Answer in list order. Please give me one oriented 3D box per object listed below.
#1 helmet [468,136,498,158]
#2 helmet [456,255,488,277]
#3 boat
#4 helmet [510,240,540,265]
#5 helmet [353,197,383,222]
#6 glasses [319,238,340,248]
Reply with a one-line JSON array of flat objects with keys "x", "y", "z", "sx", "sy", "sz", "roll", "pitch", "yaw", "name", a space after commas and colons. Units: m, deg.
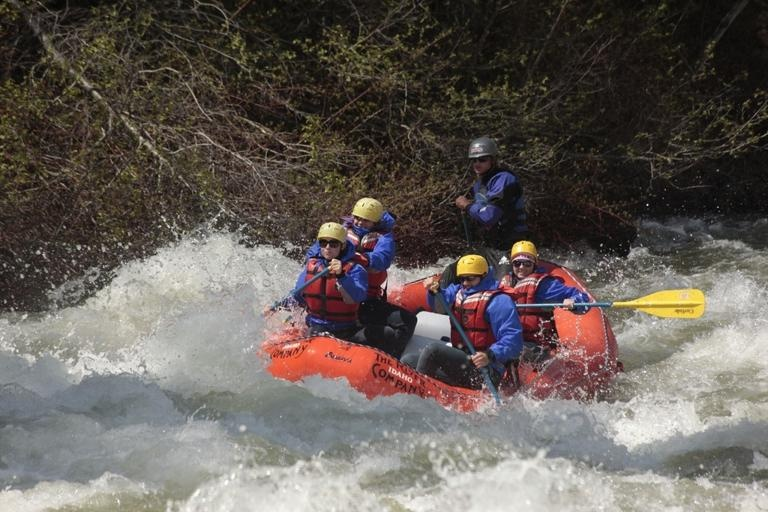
[{"x": 1.369, "y": -1.465, "z": 13.511, "sx": 0.375, "sy": 0.267, "sz": 0.292, "roll": 3, "pitch": 35, "yaw": 7, "name": "helmet"}, {"x": 1.089, "y": 0.124, "z": 12.359, "sx": 0.343, "sy": 0.251, "sz": 0.252, "roll": 26, "pitch": -25, "yaw": -34, "name": "helmet"}, {"x": 1.045, "y": 1.488, "z": 12.482, "sx": 3.264, "sy": 0.913, "sz": 2.166, "roll": -15, "pitch": 35, "yaw": -36, "name": "boat"}, {"x": 1.842, "y": -0.040, "z": 12.969, "sx": 0.248, "sy": 0.333, "sz": 0.256, "roll": -1, "pitch": 46, "yaw": 12, "name": "helmet"}, {"x": -0.200, "y": -0.610, "z": 13.115, "sx": 0.279, "sy": 0.282, "sz": 0.364, "roll": 27, "pitch": 1, "yaw": 43, "name": "helmet"}, {"x": -0.662, "y": -0.155, "z": 12.390, "sx": 0.145, "sy": 0.142, "sz": 0.047, "roll": 2, "pitch": 6, "yaw": 9, "name": "glasses"}]
